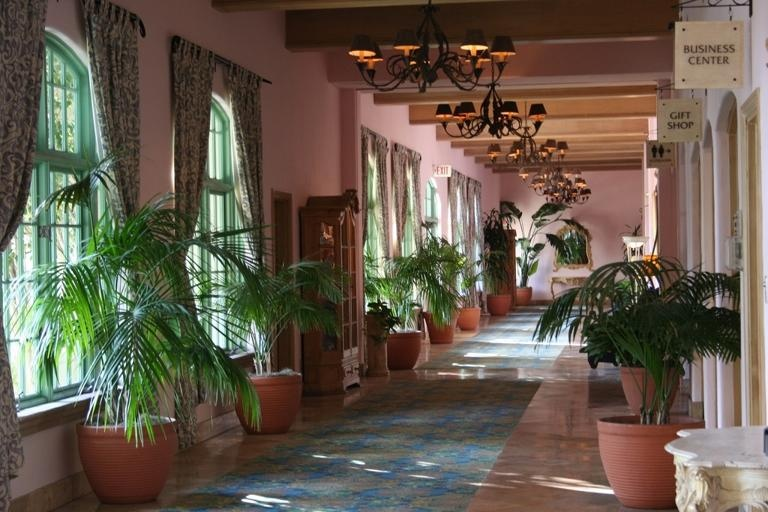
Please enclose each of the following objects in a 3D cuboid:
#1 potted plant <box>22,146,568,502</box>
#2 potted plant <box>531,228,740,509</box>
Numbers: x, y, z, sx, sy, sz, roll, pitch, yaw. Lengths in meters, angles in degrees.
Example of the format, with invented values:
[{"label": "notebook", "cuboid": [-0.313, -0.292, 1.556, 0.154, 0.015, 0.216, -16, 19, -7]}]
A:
[{"label": "potted plant", "cuboid": [-1.451, 0.774, 5.054, 2.568, 2.322, 2.830, -1, -1, 39]}, {"label": "potted plant", "cuboid": [1.988, 0.951, 4.764, 1.715, 2.041, 1.964, -1, -9, 2]}]
